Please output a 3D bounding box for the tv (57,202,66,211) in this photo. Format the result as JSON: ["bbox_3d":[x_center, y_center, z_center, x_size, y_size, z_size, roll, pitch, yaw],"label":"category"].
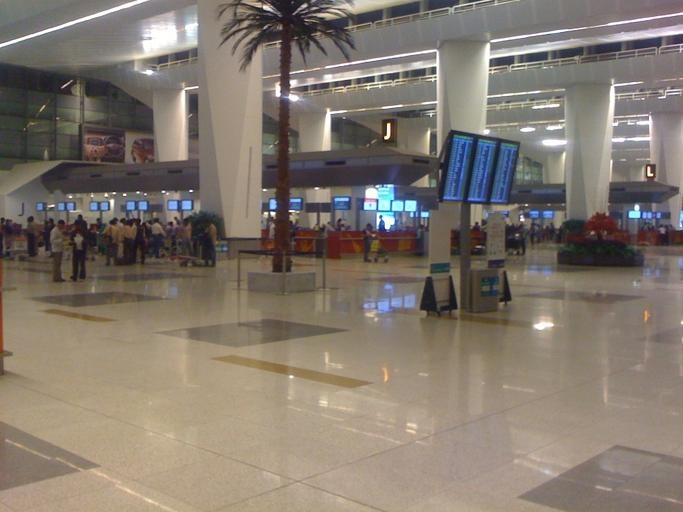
[{"bbox_3d":[-19.994,-3.528,38.980,0.599,0.733,0.099,14,2,42],"label":"tv"}]

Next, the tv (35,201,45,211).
[{"bbox_3d":[-21.727,-3.575,39.518,0.739,0.688,0.499,0,3,-10],"label":"tv"}]

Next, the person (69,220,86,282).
[{"bbox_3d":[-7.976,-0.147,16.598,0.446,1.768,0.780,-1,4,-26],"label":"person"}]

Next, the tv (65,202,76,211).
[{"bbox_3d":[-18.920,-3.473,38.166,0.603,0.610,0.303,1,3,9],"label":"tv"}]

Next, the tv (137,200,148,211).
[{"bbox_3d":[-12.672,-3.230,34.834,0.617,0.630,0.295,2,5,9],"label":"tv"}]

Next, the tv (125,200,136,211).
[{"bbox_3d":[-13.734,-3.310,35.621,1.121,0.708,0.243,4,5,41],"label":"tv"}]

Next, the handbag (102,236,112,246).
[{"bbox_3d":[-9.430,-0.643,22.004,0.407,0.416,0.221,4,7,27],"label":"handbag"}]

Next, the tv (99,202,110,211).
[{"bbox_3d":[-15.904,-3.328,36.636,0.598,0.589,0.310,1,-3,-32],"label":"tv"}]

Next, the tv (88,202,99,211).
[{"bbox_3d":[-16.837,-3.387,37.125,0.622,0.566,0.090,4,8,33],"label":"tv"}]
